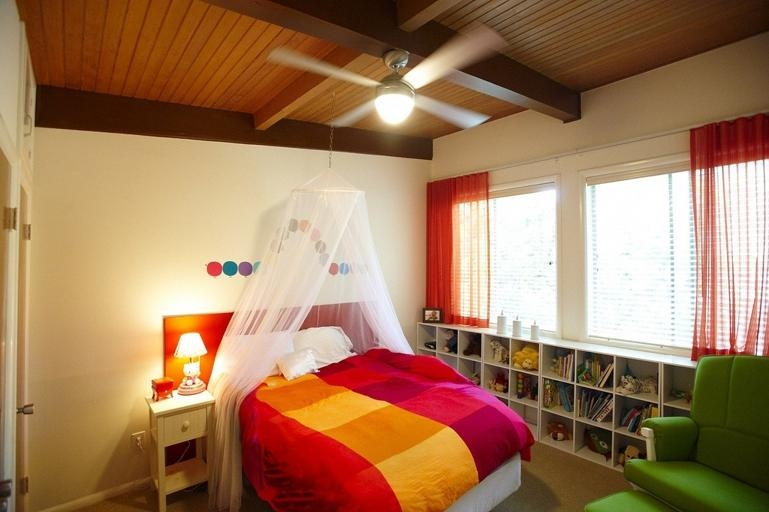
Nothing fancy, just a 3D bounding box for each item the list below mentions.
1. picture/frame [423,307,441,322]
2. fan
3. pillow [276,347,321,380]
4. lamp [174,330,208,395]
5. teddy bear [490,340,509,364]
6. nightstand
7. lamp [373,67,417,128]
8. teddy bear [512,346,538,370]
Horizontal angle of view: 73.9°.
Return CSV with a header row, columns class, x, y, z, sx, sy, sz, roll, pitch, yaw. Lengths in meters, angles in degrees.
class,x,y,z,sx,sy,sz,roll,pitch,yaw
picture/frame,0.606,0.749,6.456,0.196,0.161,0.014,0,-7,2
fan,0.079,-1.561,4.592,1.199,0.358,1.220,-2,-3,44
pillow,-0.848,1.076,5.084,0.275,0.082,0.271,-8,46,-43
lamp,-1.857,1.021,4.915,0.273,0.564,0.316,1,-1,-19
teddy bear,1.325,1.101,5.856,0.242,0.259,0.171,-7,-10,30
nightstand,-1.886,1.772,4.722,0.549,0.984,0.559,1,-1,-26
lamp,0.062,-1.249,4.234,0.445,0.492,0.438,1,1,-6
teddy bear,1.545,1.133,5.602,0.254,0.102,0.306,-1,2,15
